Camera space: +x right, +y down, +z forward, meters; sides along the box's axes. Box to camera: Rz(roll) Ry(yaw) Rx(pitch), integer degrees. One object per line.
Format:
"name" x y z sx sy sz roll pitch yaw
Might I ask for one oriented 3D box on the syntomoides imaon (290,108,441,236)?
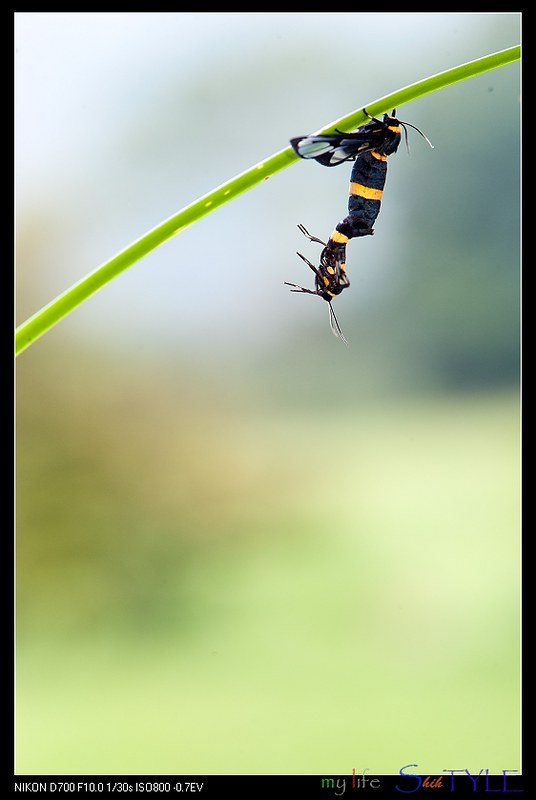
"syntomoides imaon" 0.125 -0.325 1.183 0.163 0.053 0.160 25 -81 -41
